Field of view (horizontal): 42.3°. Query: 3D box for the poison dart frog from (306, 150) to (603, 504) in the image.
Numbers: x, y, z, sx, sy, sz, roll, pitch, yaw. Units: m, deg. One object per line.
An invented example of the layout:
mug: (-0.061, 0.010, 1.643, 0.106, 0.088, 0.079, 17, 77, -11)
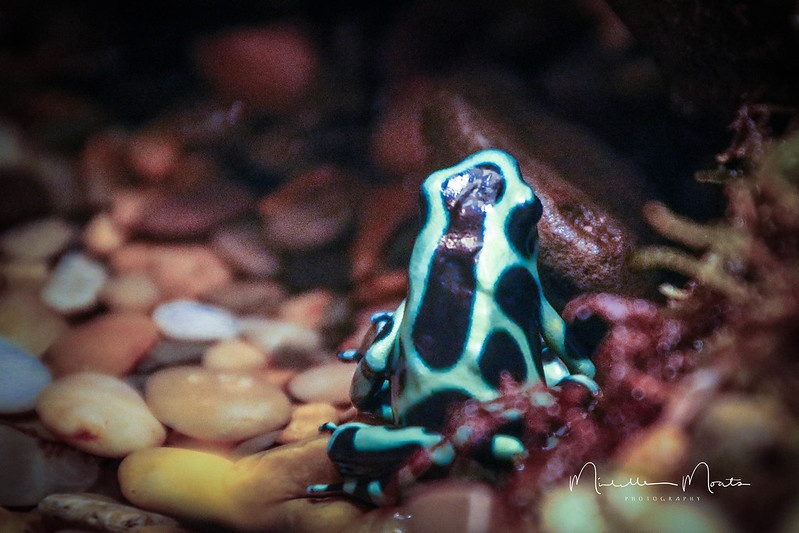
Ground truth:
poison dart frog: (0.090, 0.087, 1.526, 0.439, 0.207, 0.503, 5, 73, 16)
